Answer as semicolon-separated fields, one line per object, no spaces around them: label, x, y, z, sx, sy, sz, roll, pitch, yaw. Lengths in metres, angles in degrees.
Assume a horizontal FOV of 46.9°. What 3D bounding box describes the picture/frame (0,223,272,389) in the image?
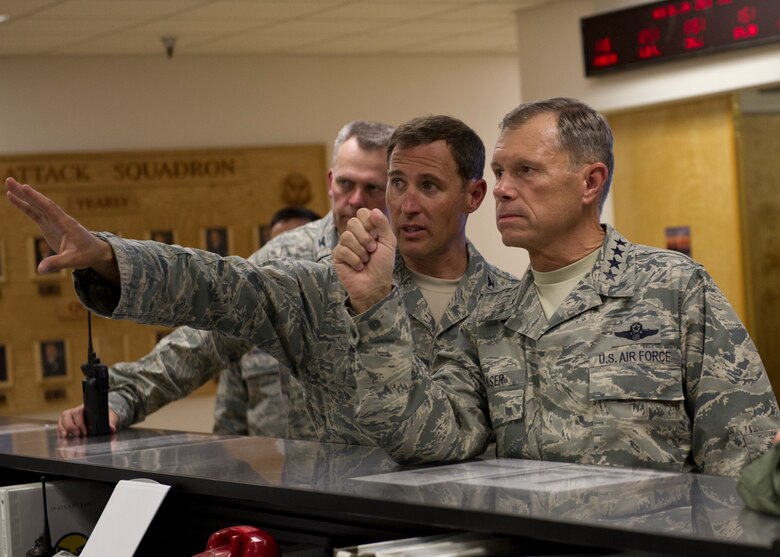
picture/frame;-0.438;0.035;1.952;0.432;0.278;0.150;-5;4;-43

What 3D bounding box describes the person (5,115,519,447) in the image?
person;-0.366;-0.001;2.533;1.417;1.340;0.419;-1;-18;17
